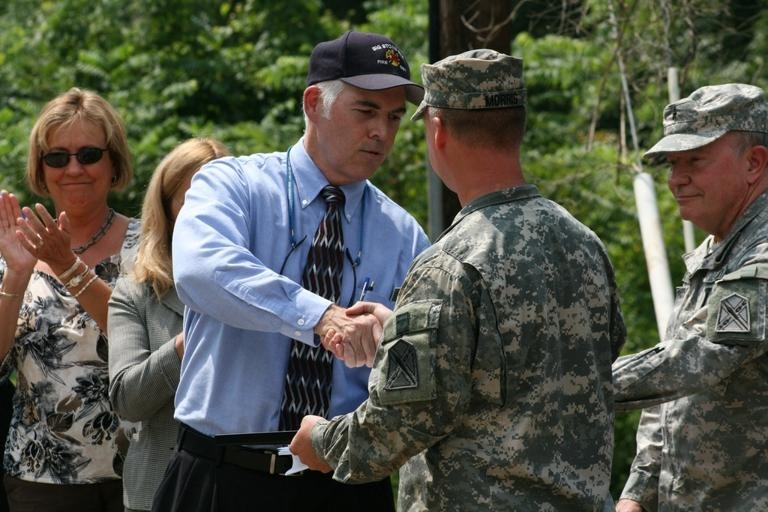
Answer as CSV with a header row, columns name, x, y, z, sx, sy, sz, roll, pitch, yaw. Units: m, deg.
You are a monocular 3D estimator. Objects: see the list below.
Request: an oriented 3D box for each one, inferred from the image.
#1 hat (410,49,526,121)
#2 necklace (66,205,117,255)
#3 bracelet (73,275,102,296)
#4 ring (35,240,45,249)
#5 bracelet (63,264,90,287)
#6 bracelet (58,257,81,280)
name,x,y,z,sx,sy,sz,roll,pitch,yaw
hat,0.525,-1.002,9.501,0.478,0.253,0.355,2,5,40
necklace,-1.910,-0.160,11.058,0.289,0.069,0.253,-61,19,-17
bracelet,-1.905,0.190,10.738,0.130,0.033,0.135,-41,1,-7
ring,-2.187,-0.083,10.662,0.041,0.048,0.051,7,15,-25
bracelet,-1.955,0.133,10.721,0.134,0.049,0.133,-35,12,46
bracelet,-2.008,0.093,10.711,0.142,0.037,0.140,-34,13,24
